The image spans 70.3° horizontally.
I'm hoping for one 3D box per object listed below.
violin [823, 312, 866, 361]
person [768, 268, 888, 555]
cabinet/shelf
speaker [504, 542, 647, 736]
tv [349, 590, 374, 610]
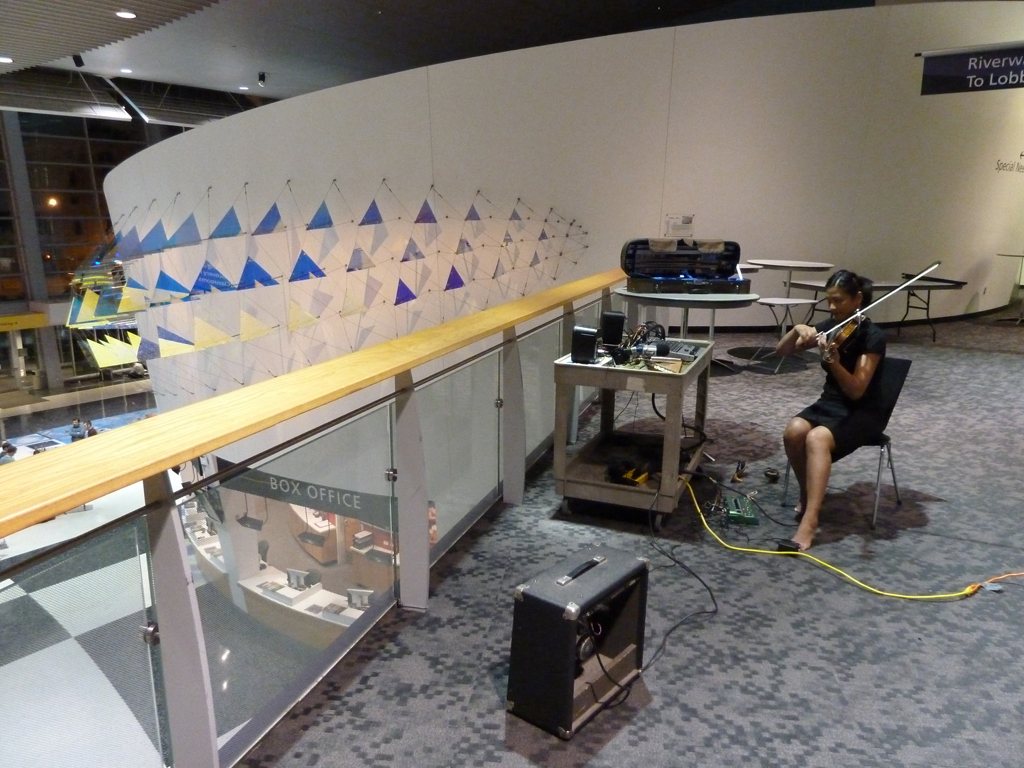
[{"bbox_3d":[1.850,-0.297,4.120,0.091,0.337,0.177,37,-5,5],"label":"violin"},{"bbox_3d":[1.796,0.095,4.201,0.975,1.452,0.465,-18,16,-37],"label":"person"},{"bbox_3d":[0.823,0.174,4.733,0.726,0.885,1.281,6,16,22],"label":"cabinet/shelf"},{"bbox_3d":[0.268,1.077,2.977,0.376,0.597,0.532,7,19,36],"label":"speaker"},{"bbox_3d":[-0.681,0.967,3.287,0.123,0.095,0.103,0,12,-7],"label":"tv"}]
